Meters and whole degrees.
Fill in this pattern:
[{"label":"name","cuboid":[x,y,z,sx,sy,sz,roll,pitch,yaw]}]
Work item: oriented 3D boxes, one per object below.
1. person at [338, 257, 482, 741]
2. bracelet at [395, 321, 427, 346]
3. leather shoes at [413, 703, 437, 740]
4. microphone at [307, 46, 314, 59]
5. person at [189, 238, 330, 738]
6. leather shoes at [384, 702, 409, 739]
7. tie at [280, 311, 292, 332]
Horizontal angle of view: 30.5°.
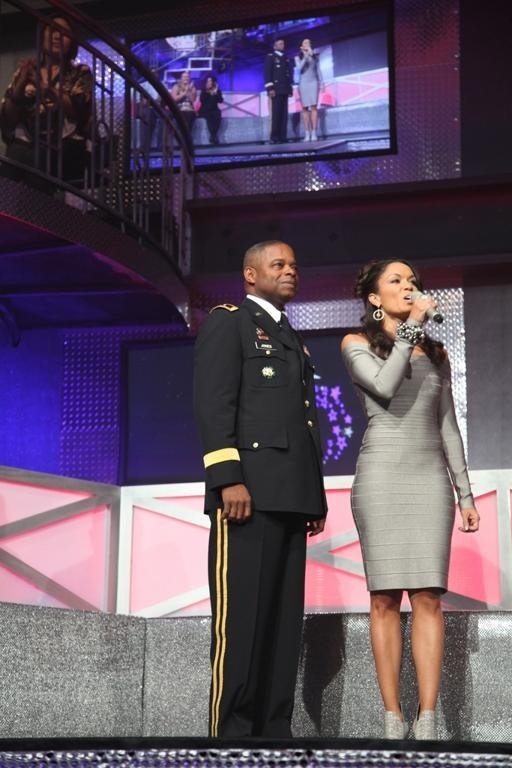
[{"label":"person","cuboid":[0.383,0.296,2.531,0.383,1.307,0.591,0,2,17]},{"label":"bracelet","cuboid":[0.412,-0.127,2.478,0.061,0.025,0.071,21,6,-2]},{"label":"leather shoes","cuboid":[0.413,0.840,2.308,0.066,0.075,0.197,-2,-18,6]},{"label":"microphone","cuboid":[0.355,-2.191,6.228,0.043,0.091,0.038,2,-27,4]},{"label":"person","cuboid":[0.012,0.223,2.477,0.340,1.259,0.648,-1,2,-3]},{"label":"leather shoes","cuboid":[0.347,0.870,2.355,0.059,0.100,0.185,0,1,8]},{"label":"tie","cuboid":[0.080,-0.174,2.689,0.042,0.051,0.056,0,-32,-3]}]
